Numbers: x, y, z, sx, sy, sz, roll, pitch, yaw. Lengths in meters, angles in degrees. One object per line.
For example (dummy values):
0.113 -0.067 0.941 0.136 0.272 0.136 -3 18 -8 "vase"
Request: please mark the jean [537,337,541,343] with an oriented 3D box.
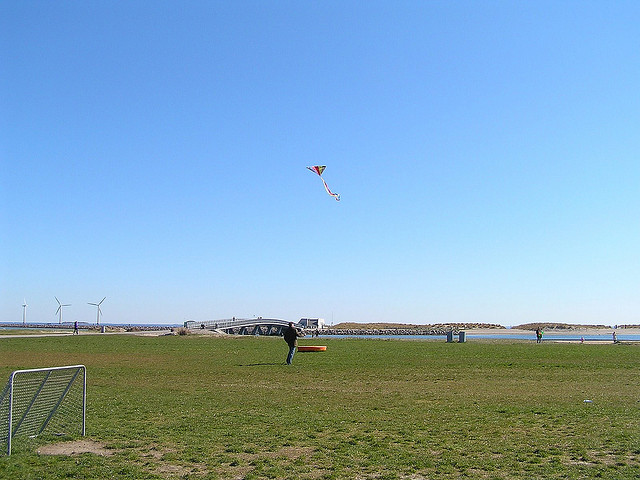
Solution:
24.405 11.193 67.844 0.224 0.628 0.498 6 -7 -31 "jean"
